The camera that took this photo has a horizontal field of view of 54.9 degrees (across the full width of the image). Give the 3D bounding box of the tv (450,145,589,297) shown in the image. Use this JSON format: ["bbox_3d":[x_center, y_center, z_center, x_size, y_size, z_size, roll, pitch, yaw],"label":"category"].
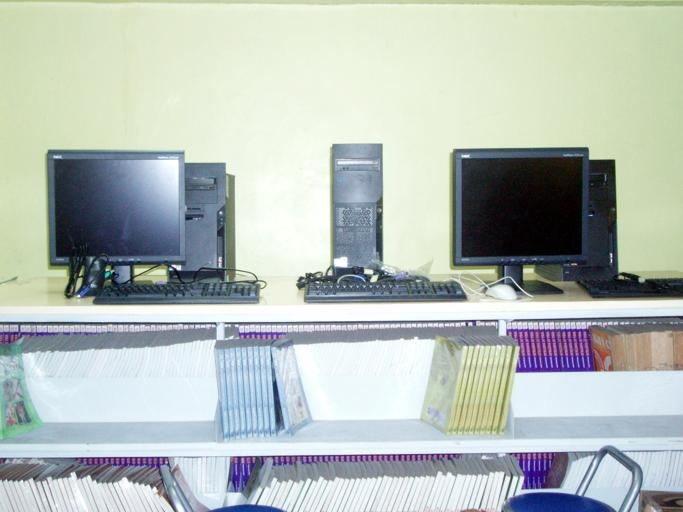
[{"bbox_3d":[0.753,-0.158,2.756,0.639,0.692,0.262,0,1,1],"label":"tv"}]

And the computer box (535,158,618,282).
[{"bbox_3d":[1.070,-0.202,3.045,0.454,0.605,0.452,2,-3,4],"label":"computer box"}]

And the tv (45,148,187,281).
[{"bbox_3d":[-0.932,-0.182,2.729,0.570,0.534,0.182,2,2,-5],"label":"tv"}]
